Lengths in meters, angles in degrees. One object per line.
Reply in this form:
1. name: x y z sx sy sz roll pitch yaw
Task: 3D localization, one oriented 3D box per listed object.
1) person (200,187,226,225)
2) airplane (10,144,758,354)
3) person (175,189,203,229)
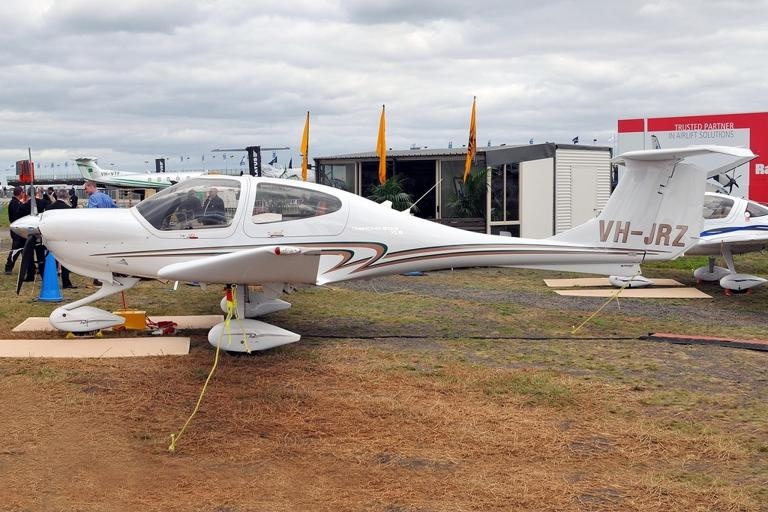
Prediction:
1. person: -2.534 -0.721 10.820 0.339 0.552 0.200 0 15 -9
2. airplane: 0.016 -0.216 10.874 7.754 1.173 5.901 2 2 -7
3. person: -2.898 -0.677 10.820 0.333 0.553 0.205 5 15 8
